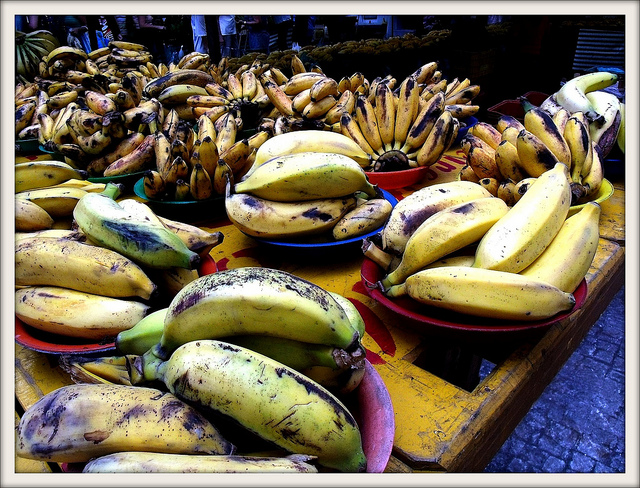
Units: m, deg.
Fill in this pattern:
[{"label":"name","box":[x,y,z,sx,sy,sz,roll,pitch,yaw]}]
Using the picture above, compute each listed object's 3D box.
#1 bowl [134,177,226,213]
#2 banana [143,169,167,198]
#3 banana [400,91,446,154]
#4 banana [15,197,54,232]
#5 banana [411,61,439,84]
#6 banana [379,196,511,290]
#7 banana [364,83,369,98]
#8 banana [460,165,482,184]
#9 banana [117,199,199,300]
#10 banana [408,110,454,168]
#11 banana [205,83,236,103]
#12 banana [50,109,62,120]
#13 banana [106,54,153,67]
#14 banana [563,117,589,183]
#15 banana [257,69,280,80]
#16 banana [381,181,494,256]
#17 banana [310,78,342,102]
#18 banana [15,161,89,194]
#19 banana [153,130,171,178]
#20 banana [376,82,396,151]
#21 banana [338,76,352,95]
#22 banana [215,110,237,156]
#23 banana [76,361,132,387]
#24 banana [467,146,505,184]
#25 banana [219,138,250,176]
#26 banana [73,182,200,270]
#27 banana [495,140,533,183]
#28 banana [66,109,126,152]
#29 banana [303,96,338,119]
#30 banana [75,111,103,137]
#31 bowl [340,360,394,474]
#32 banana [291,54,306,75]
[{"label":"bowl","box":[-0.582,-0.186,1.998,0.310,0.067,0.338,-11,-12,-2]},{"label":"banana","box":[-0.644,-0.234,1.933,0.063,0.113,0.069,27,48,21]},{"label":"banana","box":[0.470,-0.550,2.277,0.086,0.325,0.101,29,-4,-21]},{"label":"banana","box":[-0.958,-0.085,1.685,0.144,0.092,0.070,25,-24,-23]},{"label":"banana","box":[0.660,-1.061,3.045,0.106,0.115,0.369,10,25,32]},{"label":"banana","box":[0.381,0.004,1.490,0.318,0.089,0.114,-38,5,-7]},{"label":"banana","box":[0.281,-0.914,2.928,0.032,0.095,0.025,-12,-11,37]},{"label":"banana","box":[0.632,-0.296,2.122,0.082,0.059,0.101,-17,14,-21]},{"label":"banana","box":[-0.493,0.022,1.495,0.101,0.353,0.116,-40,-8,-11]},{"label":"banana","box":[0.507,-0.449,2.238,0.093,0.355,0.115,23,1,-5]},{"label":"banana","box":[-0.543,-0.822,2.698,0.191,0.060,0.059,21,55,3]},{"label":"banana","box":[-1.527,-0.754,2.865,0.071,0.029,0.092,-13,44,-8]},{"label":"banana","box":[-1.352,-1.361,3.657,0.220,0.084,0.405,9,24,20]},{"label":"banana","box":[1.027,-0.402,2.030,0.082,0.316,0.107,-3,-25,10]},{"label":"banana","box":[-0.303,-1.014,2.926,0.060,0.030,0.098,33,35,-2]},{"label":"banana","box":[0.375,-0.116,1.684,0.367,0.206,0.127,-25,28,-8]},{"label":"banana","box":[0.027,-0.759,2.440,0.063,0.104,0.189,20,29,40]},{"label":"banana","box":[-1.023,-0.267,1.991,0.352,0.097,0.122,2,-5,-27]},{"label":"banana","box":[-0.679,-0.409,2.188,0.067,0.243,0.079,0,-22,-4]},{"label":"banana","box":[0.308,-0.602,2.381,0.082,0.322,0.100,-4,4,-6]},{"label":"banana","box":[0.137,-0.860,2.726,0.067,0.036,0.110,26,-21,1]},{"label":"banana","box":[-0.413,-0.513,2.292,0.062,0.078,0.234,8,44,2]},{"label":"banana","box":[-0.551,0.333,1.274,0.099,0.025,0.038,21,-7,9]},{"label":"banana","box":[0.673,-0.325,2.072,0.090,0.069,0.182,-35,67,-11]},{"label":"banana","box":[-0.353,-0.370,2.088,0.075,0.064,0.231,-22,0,-27]},{"label":"banana","box":[-0.533,-0.029,1.479,0.432,0.119,0.215,28,48,27]},{"label":"banana","box":[0.741,-0.316,1.927,0.066,0.226,0.074,-40,-2,21]},{"label":"banana","box":[-1.025,-0.536,2.314,0.274,0.187,0.157,11,53,32]},{"label":"banana","box":[0.003,-0.686,2.451,0.228,0.079,0.068,-25,33,-31]},{"label":"banana","box":[-1.053,-0.556,2.267,0.106,0.076,0.269,10,6,-42]},{"label":"bowl","box":[0.120,0.416,1.214,0.173,0.184,0.067,-23,-16,25]},{"label":"banana","box":[-0.135,-1.139,3.147,0.076,0.106,0.206,-1,22,-3]}]
